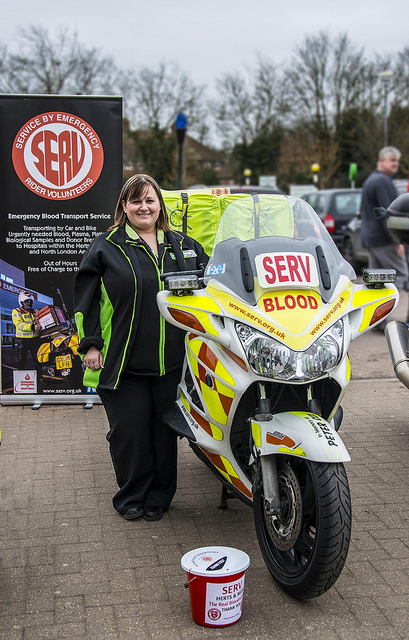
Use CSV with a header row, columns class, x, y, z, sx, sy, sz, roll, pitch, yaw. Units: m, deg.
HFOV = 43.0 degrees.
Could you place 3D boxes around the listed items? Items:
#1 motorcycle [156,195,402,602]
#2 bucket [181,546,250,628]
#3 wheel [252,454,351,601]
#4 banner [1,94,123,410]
class,x,y,z,sx,sy,sz,roll,pitch,yaw
motorcycle,0.266,0.220,2.737,0.758,1.264,2.014,0,3,-11
bucket,0.052,0.943,1.887,0.232,0.201,0.251,2,3,0
wheel,0.363,0.741,2.041,0.168,0.616,0.536,6,-6,-23
banner,-1.433,-0.619,5.036,1.201,2.944,0.468,0,1,-3
